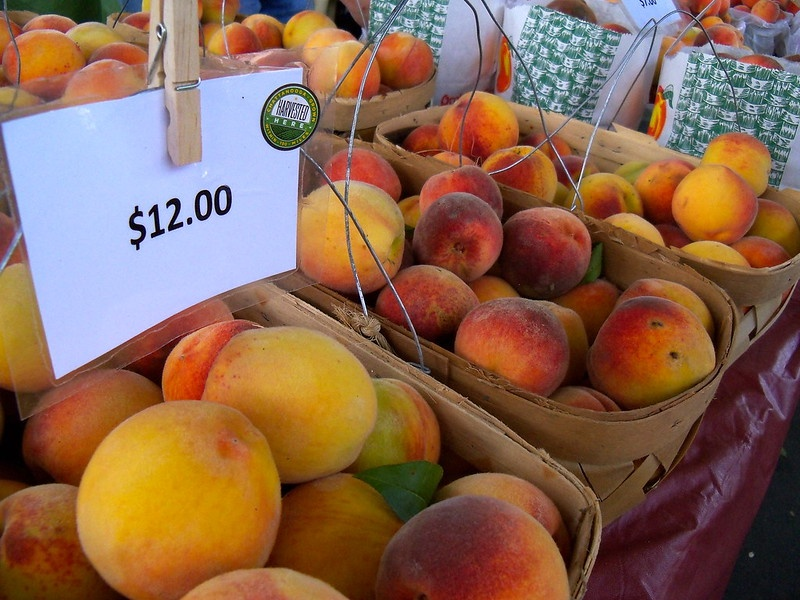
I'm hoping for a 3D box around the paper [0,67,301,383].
[{"bbox_3d":[-0.342,-0.100,0.909,0.039,0.338,0.390,26,45,34],"label":"paper"}]
